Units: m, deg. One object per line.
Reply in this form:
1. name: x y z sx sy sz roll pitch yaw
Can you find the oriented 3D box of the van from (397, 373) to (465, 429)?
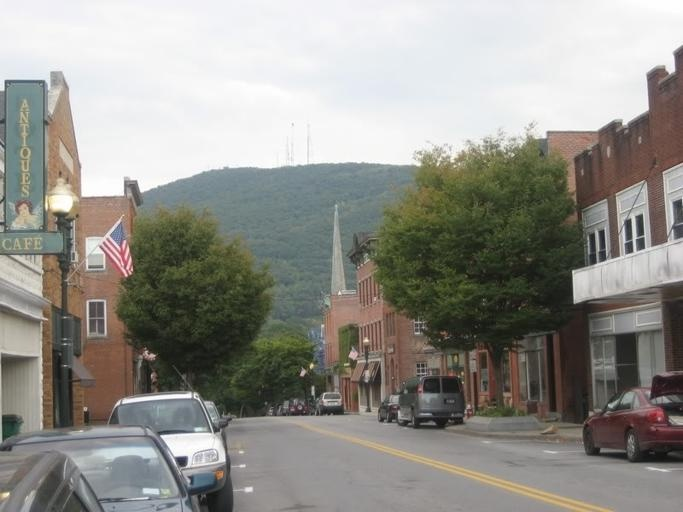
1. van: 3.988 6.450 43.648 1.596 1.640 3.373 1 -6 -7
